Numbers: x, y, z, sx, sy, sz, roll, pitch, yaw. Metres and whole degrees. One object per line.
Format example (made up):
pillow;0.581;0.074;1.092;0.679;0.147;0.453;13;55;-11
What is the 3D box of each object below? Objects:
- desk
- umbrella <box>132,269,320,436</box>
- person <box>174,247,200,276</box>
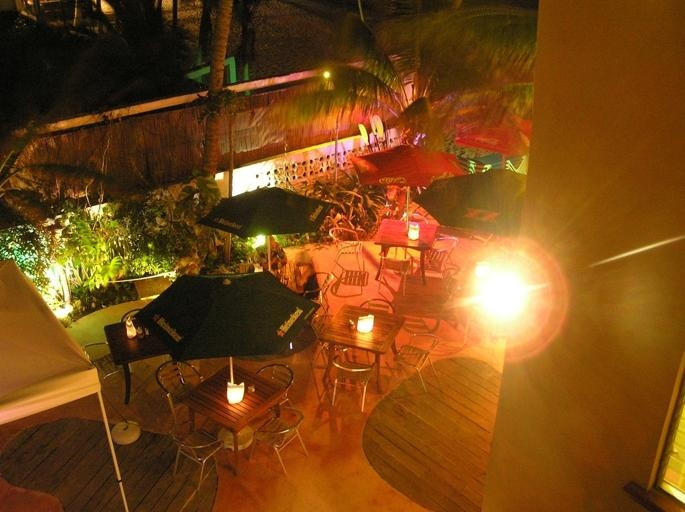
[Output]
desk;1.331;-0.231;11.815;1.212;1.313;1.118;6;-49;7
umbrella;-1.580;1.250;8.448;1.998;2.321;2.073;1;-57;-2
person;-3.167;0.076;11.595;0.507;0.760;0.382;6;-19;-3
